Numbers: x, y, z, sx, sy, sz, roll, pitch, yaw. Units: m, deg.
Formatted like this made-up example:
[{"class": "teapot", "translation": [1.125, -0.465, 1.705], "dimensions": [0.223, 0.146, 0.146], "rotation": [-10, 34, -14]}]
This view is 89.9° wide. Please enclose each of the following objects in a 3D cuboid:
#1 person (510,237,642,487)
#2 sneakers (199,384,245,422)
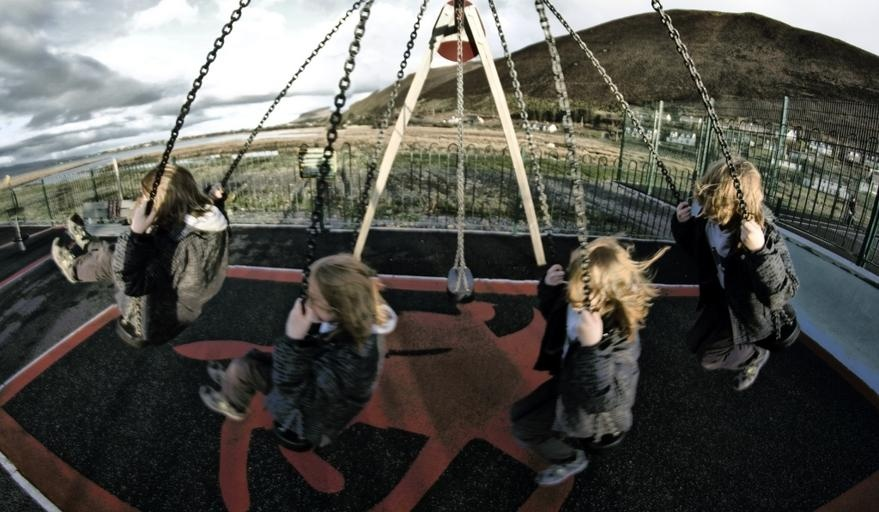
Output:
[{"class": "person", "translation": [1.366, 1.008, 4.378], "dimensions": [1.285, 2.297, 0.838], "rotation": [-8, 19, -19]}, {"class": "sneakers", "translation": [-2.235, 1.523, 4.528], "dimensions": [0.565, 0.222, 0.200], "rotation": [28, 44, -17]}]
